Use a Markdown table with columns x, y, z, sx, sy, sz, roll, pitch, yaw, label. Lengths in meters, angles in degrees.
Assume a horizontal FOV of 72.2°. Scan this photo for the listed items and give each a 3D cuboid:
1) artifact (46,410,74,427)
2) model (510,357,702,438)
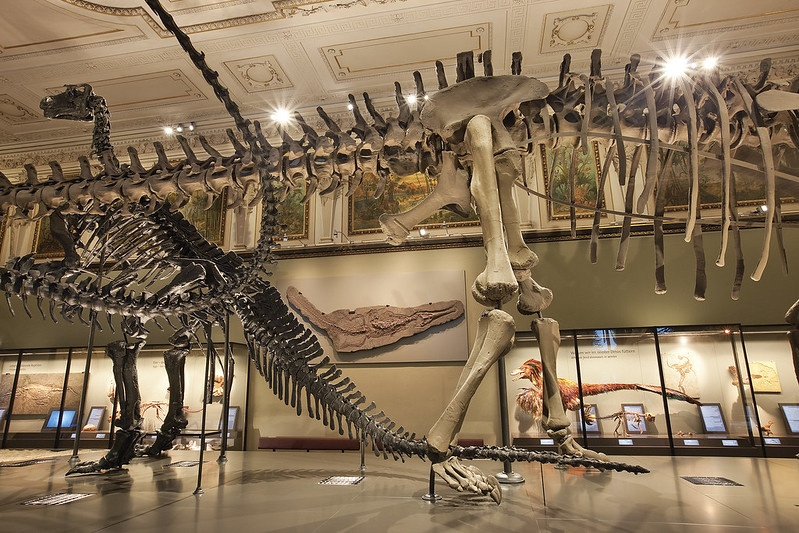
| x | y | z | sx | sy | sz | roll | pitch | yaw | label |
| --- | --- | --- | --- | --- | --- | --- | --- | --- | --- |
| -4.763 | 2.141 | 7.705 | 0.306 | 0.290 | 0.083 | 1 | -14 | 11 | artifact |
| 2.384 | 1.605 | 6.762 | 1.874 | 0.706 | 0.421 | 0 | -34 | 1 | model |
